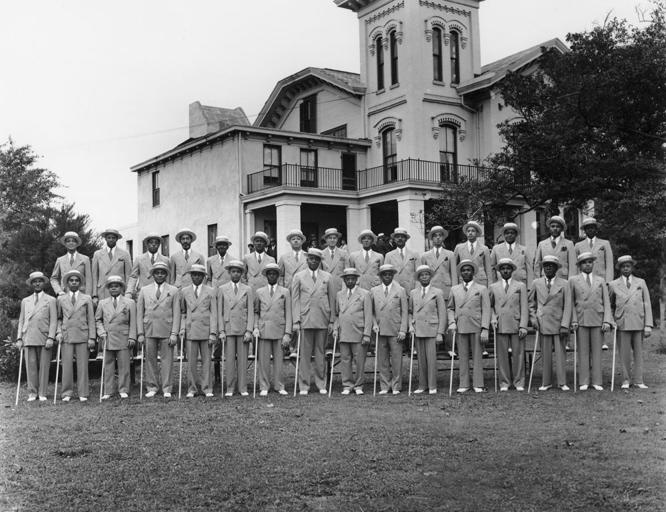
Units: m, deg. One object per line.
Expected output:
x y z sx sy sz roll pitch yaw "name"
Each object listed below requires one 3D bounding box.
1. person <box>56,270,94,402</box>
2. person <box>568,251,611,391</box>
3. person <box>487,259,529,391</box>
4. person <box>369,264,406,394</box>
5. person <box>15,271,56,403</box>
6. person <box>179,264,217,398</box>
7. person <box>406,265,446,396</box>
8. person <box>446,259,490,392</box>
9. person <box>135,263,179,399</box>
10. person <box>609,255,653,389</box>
-5.052 1.556 21.276 0.753 2.535 0.507 0 -7 -9 "person"
5.111 1.264 21.268 0.789 2.734 0.618 -3 -7 12 "person"
3.539 1.339 21.502 0.778 2.653 0.839 -2 -7 5 "person"
1.164 1.448 21.449 0.699 2.564 0.622 -4 -8 14 "person"
-5.805 1.585 21.281 0.765 2.507 0.639 0 -8 -15 "person"
-2.642 1.477 21.324 0.726 2.585 0.519 -1 -7 -7 "person"
1.901 1.445 21.286 0.673 2.504 0.437 -6 -8 30 "person"
2.709 1.389 21.299 0.844 2.580 0.500 -2 -7 6 "person"
-3.417 1.633 21.378 0.853 2.309 0.656 -3 -7 7 "person"
5.952 1.310 21.500 0.796 2.630 1.085 -4 -7 15 "person"
